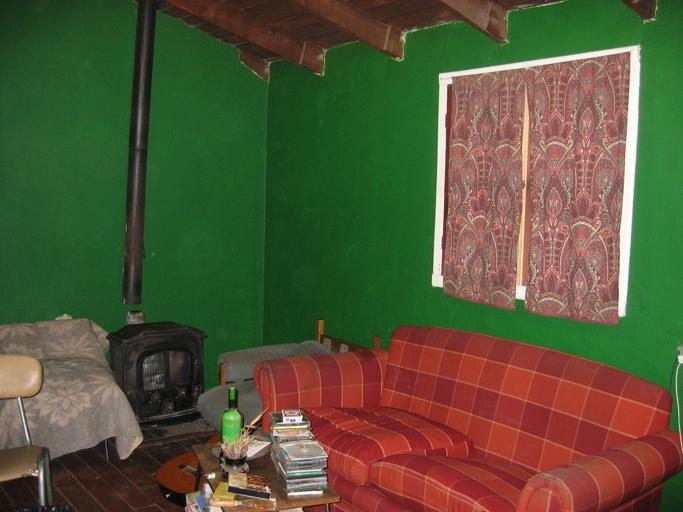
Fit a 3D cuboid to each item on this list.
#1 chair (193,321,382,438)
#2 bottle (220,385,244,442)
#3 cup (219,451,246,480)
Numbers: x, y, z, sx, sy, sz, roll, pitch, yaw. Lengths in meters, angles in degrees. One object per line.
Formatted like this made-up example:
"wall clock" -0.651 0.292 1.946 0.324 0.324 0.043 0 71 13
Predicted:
"chair" -0.398 1.116 5.108 1.250 1.017 1.433 1 -1 30
"bottle" -0.614 0.882 3.545 0.115 0.306 0.183 0 5 -11
"cup" -0.598 1.149 3.458 0.119 0.096 0.123 1 -7 0
